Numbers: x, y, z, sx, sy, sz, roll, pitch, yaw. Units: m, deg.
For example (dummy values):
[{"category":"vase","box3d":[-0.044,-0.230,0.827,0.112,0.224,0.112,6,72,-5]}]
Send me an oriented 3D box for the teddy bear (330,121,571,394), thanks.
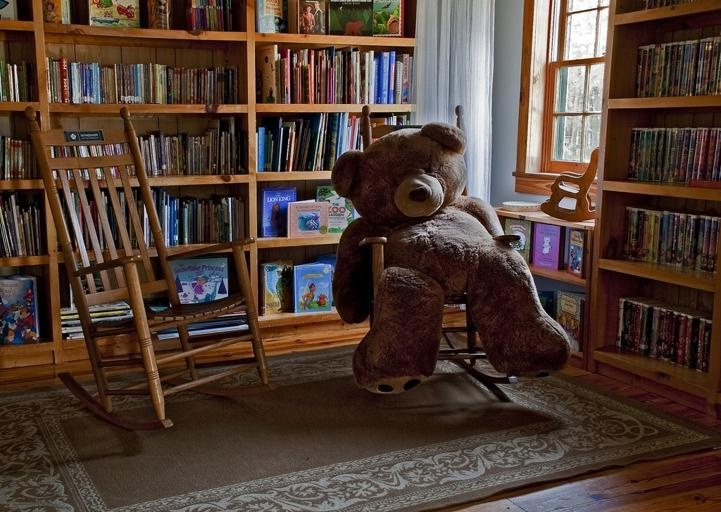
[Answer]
[{"category":"teddy bear","box3d":[0.386,-0.041,2.803,1.244,1.068,0.899,-2,23,-2]}]
